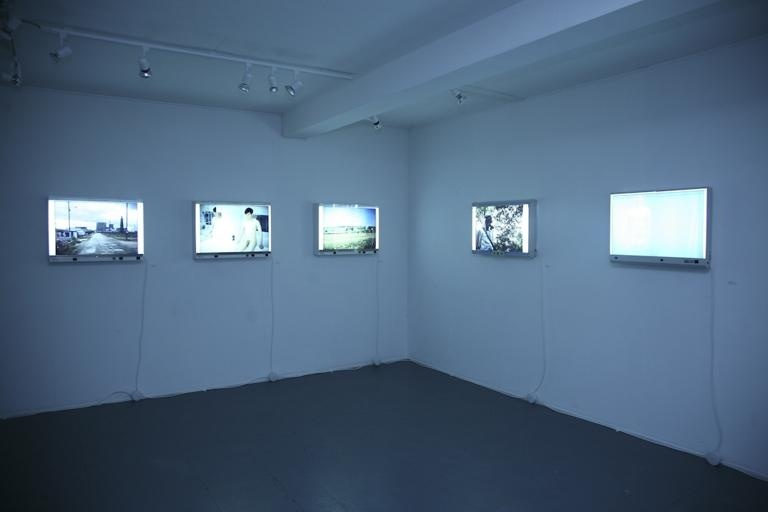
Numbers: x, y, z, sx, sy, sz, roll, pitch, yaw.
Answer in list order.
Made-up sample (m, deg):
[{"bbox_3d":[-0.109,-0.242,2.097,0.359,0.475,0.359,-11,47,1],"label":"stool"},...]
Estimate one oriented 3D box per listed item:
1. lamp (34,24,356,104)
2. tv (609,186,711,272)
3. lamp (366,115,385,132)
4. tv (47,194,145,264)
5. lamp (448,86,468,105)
[{"bbox_3d":[-2.028,-2.181,5.627,3.216,0.545,0.336,-4,12,-19],"label":"lamp"},{"bbox_3d":[3.209,-0.316,5.773,0.977,0.876,0.159,0,-2,45],"label":"tv"},{"bbox_3d":[-0.145,-2.058,7.718,0.249,0.338,0.590,-7,14,-5],"label":"lamp"},{"bbox_3d":[-3.876,-0.362,6.647,0.895,0.714,0.092,0,4,-22],"label":"tv"},{"bbox_3d":[0.970,-2.124,6.599,0.123,0.139,0.378,21,11,19],"label":"lamp"}]
